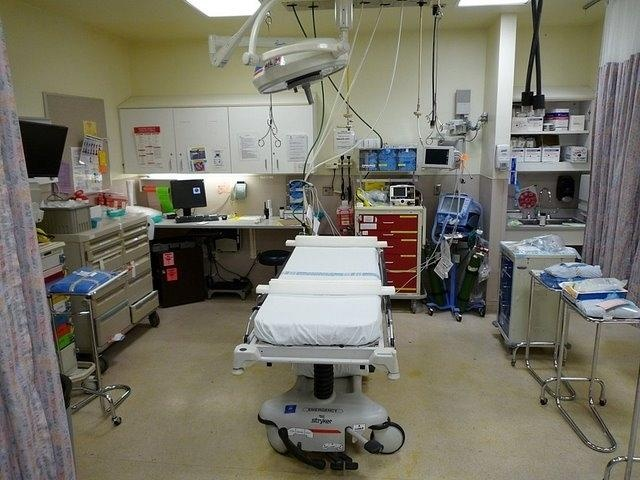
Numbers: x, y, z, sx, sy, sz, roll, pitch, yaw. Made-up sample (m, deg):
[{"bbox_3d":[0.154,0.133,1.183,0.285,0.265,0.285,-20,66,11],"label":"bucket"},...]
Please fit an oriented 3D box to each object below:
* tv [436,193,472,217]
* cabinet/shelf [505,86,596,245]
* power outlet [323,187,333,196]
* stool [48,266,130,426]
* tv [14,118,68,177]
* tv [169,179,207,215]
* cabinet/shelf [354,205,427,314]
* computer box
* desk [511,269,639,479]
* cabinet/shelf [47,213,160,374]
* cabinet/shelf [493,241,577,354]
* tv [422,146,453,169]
[{"bbox_3d":[1.535,-0.405,5.703,0.358,0.222,0.400,2,12,20],"label":"tv"},{"bbox_3d":[2.640,-0.831,5.734,0.928,1.771,0.715,1,12,11],"label":"cabinet/shelf"},{"bbox_3d":[0.099,-0.615,6.230,0.104,0.102,0.026,2,4,6],"label":"power outlet"},{"bbox_3d":[-1.863,0.803,4.162,0.563,1.171,0.940,-7,12,-22],"label":"stool"},{"bbox_3d":[-2.346,-0.764,4.222,0.319,0.458,0.377,8,15,41],"label":"tv"},{"bbox_3d":[-1.621,-0.544,6.055,0.397,0.449,0.171,-5,13,-22],"label":"tv"},{"bbox_3d":[0.842,0.081,6.057,0.971,1.257,0.956,-5,20,-4],"label":"cabinet/shelf"},{"bbox_3d":[-1.756,0.401,6.098,0.615,0.683,0.624,-2,9,-19],"label":"computer box"},{"bbox_3d":[1.996,1.066,3.960,0.398,0.683,1.236,1,12,11],"label":"desk"},{"bbox_3d":[-1.953,0.477,4.437,0.491,1.220,1.287,-1,9,1],"label":"cabinet/shelf"},{"bbox_3d":[2.067,0.533,4.817,0.611,0.947,0.683,2,11,13],"label":"cabinet/shelf"},{"bbox_3d":[1.338,-0.936,5.666,0.421,0.324,0.230,3,6,33],"label":"tv"}]
